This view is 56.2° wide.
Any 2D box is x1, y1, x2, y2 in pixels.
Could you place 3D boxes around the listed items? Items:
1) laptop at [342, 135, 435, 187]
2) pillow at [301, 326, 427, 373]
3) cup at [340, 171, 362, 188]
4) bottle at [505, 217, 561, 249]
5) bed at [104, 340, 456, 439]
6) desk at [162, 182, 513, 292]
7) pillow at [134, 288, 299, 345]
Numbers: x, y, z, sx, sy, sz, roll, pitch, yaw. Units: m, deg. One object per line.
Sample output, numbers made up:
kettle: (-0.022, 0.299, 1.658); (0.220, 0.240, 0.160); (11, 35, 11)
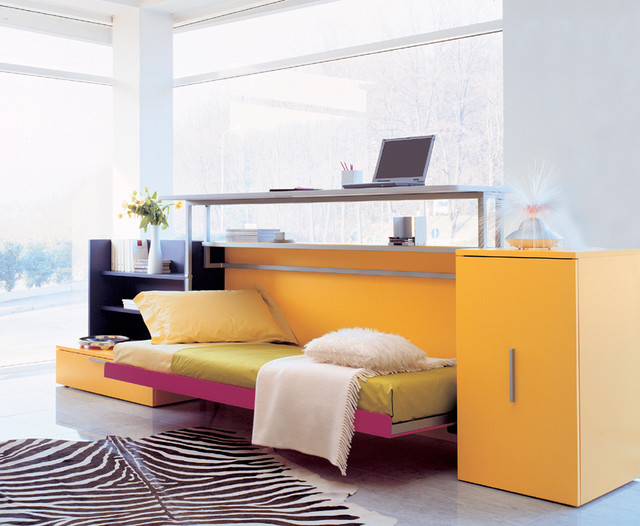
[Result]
laptop: (0.398, -0.575, 3.454); (0.418, 0.269, 0.467); (-1, 5, -43)
pillow: (0.230, 0.476, 3.097); (0.512, 0.129, 0.507); (-1, -7, 23)
cup: (0.174, -0.506, 3.660); (0.131, 0.113, 0.125); (0, 5, 0)
bottle: (1.078, -0.125, 2.944); (0.220, 0.144, 0.176); (0, -2, 3)
bed: (-0.208, 0.662, 3.163); (0.734, 0.148, 1.564); (0, 1, -41)
desk: (0.083, -0.137, 4.058); (2.088, 0.673, 0.614); (1, 4, 17)
pillow: (-0.740, 0.376, 4.045); (0.681, 0.137, 0.575); (1, 17, -22)
